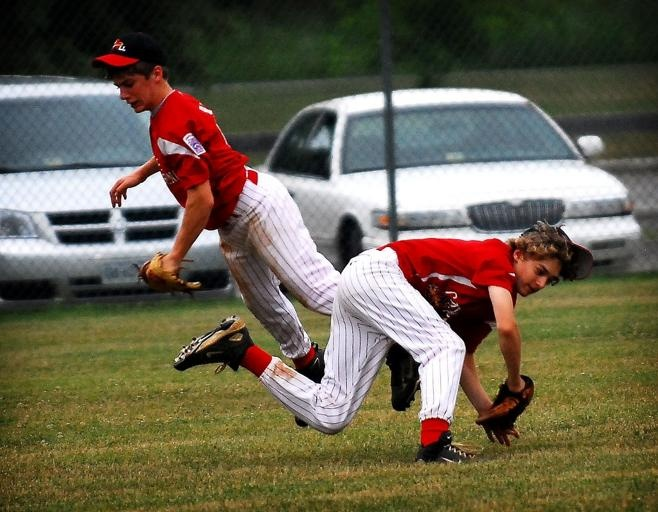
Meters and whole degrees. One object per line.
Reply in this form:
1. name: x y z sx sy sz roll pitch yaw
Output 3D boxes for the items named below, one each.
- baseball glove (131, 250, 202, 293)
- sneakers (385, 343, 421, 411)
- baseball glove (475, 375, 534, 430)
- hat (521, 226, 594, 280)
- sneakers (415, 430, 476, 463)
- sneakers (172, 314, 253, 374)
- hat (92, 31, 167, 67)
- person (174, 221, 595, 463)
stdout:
1. baseball glove: -0.876 0.112 6.129 0.435 0.153 0.138 5 -3 15
2. sneakers: 0.427 0.646 6.198 0.205 0.377 0.143 15 3 14
3. baseball glove: 0.964 0.789 6.005 0.185 0.385 0.147 40 11 29
4. hat: 1.292 -0.010 5.885 0.216 0.305 0.109 -13 18 -33
5. sneakers: 0.607 1.000 5.857 0.432 0.169 0.143 5 3 -37
6. sneakers: -0.615 0.451 6.215 0.460 0.230 0.170 -32 -47 22
7. hat: -1.077 -1.128 6.202 0.427 0.207 0.283 0 11 -45
8. person: 0.343 0.442 6.106 2.226 1.301 0.827 4 -5 -7
